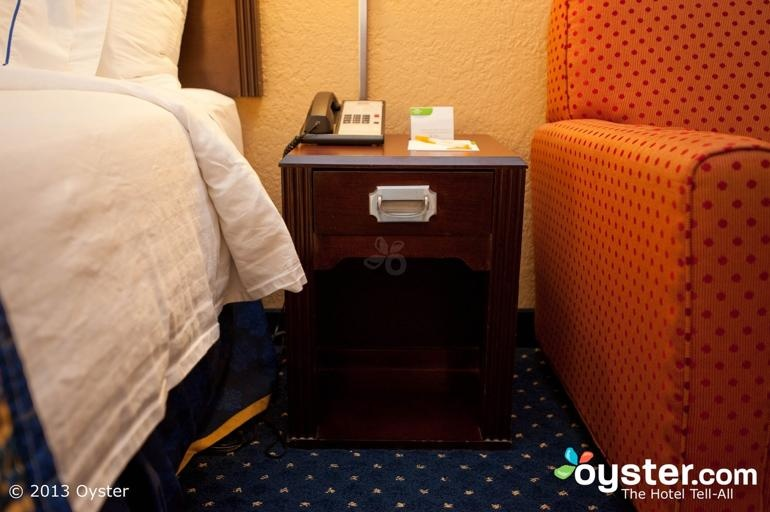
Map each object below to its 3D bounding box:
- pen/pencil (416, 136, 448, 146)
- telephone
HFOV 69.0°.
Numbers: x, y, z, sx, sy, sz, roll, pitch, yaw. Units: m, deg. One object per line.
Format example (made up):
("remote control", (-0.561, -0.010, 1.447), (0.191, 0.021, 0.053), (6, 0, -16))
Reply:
("pen/pencil", (0.124, -0.311, 1.492), (0.064, 0.013, 0.013), (19, 55, 1))
("telephone", (-0.112, -0.354, 1.563), (0.304, 0.206, 0.368), (0, 16, -3))
